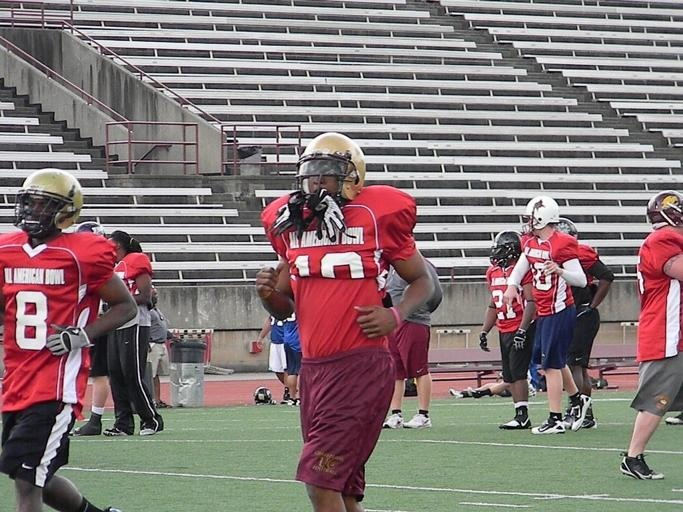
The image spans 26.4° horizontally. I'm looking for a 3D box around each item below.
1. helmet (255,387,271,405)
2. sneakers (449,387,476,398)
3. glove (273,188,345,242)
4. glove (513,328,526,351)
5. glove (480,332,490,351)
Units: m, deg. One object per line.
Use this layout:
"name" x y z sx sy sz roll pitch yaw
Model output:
"helmet" -1.299 2.396 25.060 0.250 0.301 0.268 1 31 5
"sneakers" 2.183 2.447 26.214 0.473 0.177 0.162 4 -2 11
"glove" -0.313 -0.448 15.602 0.655 0.588 0.309 -8 7 29
"glove" 2.568 1.192 20.951 0.102 0.263 0.204 18 -11 15
"glove" 2.189 1.307 22.320 0.159 0.350 0.274 3 -6 1
